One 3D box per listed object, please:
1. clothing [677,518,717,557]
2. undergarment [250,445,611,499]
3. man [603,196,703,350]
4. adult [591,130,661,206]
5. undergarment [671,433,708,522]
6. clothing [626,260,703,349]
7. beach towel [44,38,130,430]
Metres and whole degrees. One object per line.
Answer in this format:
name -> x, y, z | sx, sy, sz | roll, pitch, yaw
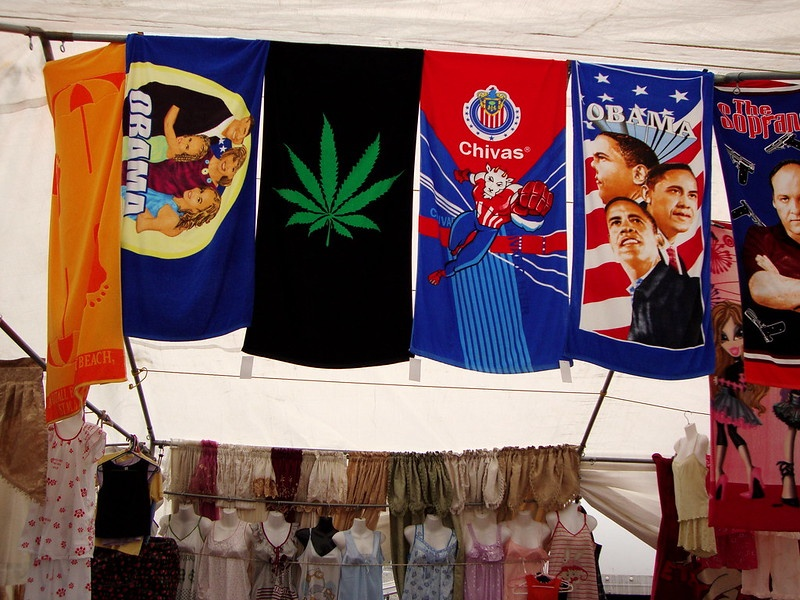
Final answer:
clothing -> 2.560, 2.057, 9.444 | 0.322, 0.338, 0.310 | 2, 0, 22
undergarment -> 0.699, 1.578, 9.834 | 2.271, 0.555, 0.247 | 2, 0, -6
man -> 1.896, -0.051, 8.313 | 0.601, 1.494, 0.705 | 3, -40, -1
adult -> 1.718, -1.107, 8.402 | 0.488, 0.720, 0.515 | 3, 25, 8
undergarment -> 2.549, 1.540, 9.620 | 0.283, 0.894, 0.374 | 13, -17, -29
clothing -> 1.949, 0.063, 8.082 | 0.512, 0.753, 0.058 | 6, -18, 4
beach towel -> -2.291, -0.525, 7.902 | 0.662, 2.817, 0.634 | 2, 0, -12
